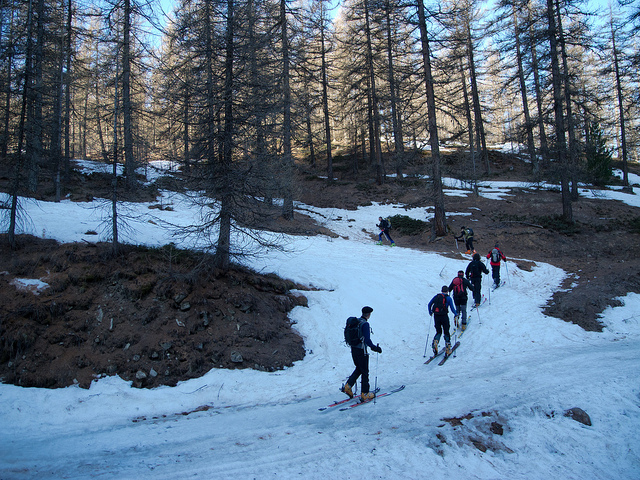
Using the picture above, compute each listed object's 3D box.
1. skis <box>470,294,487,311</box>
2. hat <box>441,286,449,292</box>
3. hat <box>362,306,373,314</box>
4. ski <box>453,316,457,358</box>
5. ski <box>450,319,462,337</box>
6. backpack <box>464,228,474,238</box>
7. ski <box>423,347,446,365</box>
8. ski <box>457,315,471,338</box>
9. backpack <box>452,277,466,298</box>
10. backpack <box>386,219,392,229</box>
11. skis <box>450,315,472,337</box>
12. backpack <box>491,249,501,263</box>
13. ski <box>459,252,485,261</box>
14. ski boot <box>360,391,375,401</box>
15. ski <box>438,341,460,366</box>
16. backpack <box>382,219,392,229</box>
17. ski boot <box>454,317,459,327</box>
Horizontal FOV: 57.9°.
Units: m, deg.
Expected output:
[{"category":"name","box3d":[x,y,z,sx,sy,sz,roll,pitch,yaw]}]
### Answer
[{"category":"skis","box3d":[8.223,3.256,30.018,0.156,0.106,1.473,15,39,40]},{"category":"hat","box3d":[5.910,2.299,27.326,0.253,0.280,0.738,1,5,15]},{"category":"hat","box3d":[2.030,2.992,24.776,0.382,0.261,0.512,1,5,14]},{"category":"ski","box3d":[6.448,4.683,27.608,0.248,1.817,0.266,-4,-33,24]},{"category":"ski","box3d":[6.678,4.328,28.408,0.992,0.142,0.143,-51,24,-24]},{"category":"backpack","box3d":[9.111,-0.441,35.080,0.398,0.760,0.569,0,9,16]},{"category":"ski","box3d":[5.265,5.329,26.605,0.131,0.208,1.148,29,48,34]},{"category":"ski","box3d":[7.059,4.248,28.291,0.192,0.153,1.348,20,53,35]},{"category":"backpack","box3d":[6.789,2.314,28.313,0.551,0.982,0.332,0,4,10]},{"category":"backpack","box3d":[4.753,-1.090,39.777,0.231,0.655,0.477,-6,-16,17]},{"category":"skis","box3d":[6.925,4.228,28.364,0.247,0.240,1.803,13,-35,-25]},{"category":"backpack","box3d":[9.604,0.852,31.556,0.461,0.676,0.231,2,0,27]},{"category":"ski","box3d":[8.774,0.955,33.564,1.379,0.300,0.116,15,-16,34]},{"category":"ski boot","box3d":[1.982,6.512,24.366,0.653,0.321,0.232,-6,28,0]},{"category":"ski","box3d":[5.936,5.240,26.620,0.170,0.086,1.521,17,42,33]},{"category":"backpack","box3d":[4.662,-1.127,39.267,0.265,0.721,0.526,-6,-11,31]},{"category":"ski boot","box3d":[6.696,4.003,28.484,0.305,0.499,0.263,0,3,37]}]
